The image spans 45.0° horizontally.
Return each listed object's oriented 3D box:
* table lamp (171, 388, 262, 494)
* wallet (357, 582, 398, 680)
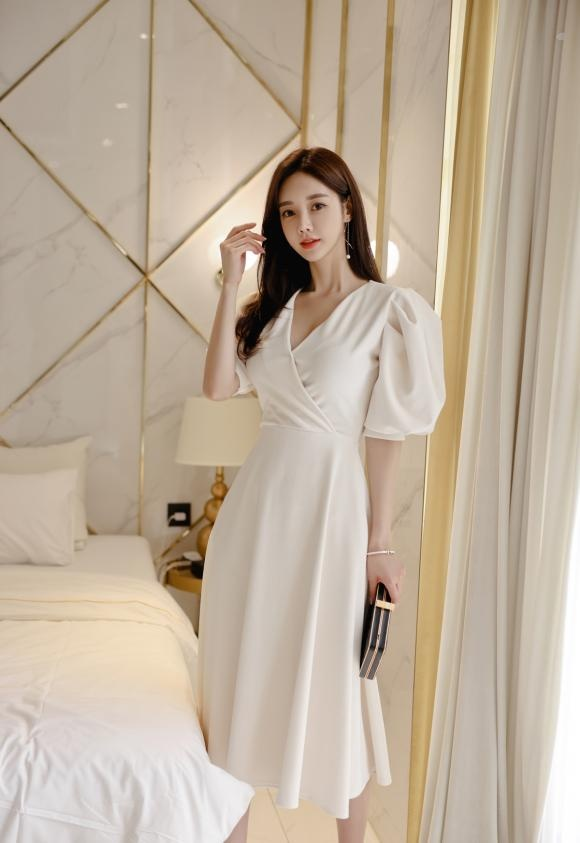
[{"bbox_3d":[-0.274,0.081,2.621,0.265,0.303,0.275,2,3,-29],"label":"table lamp"},{"bbox_3d":[0.155,0.391,1.298,0.054,0.155,0.142,4,-32,-5],"label":"wallet"}]
